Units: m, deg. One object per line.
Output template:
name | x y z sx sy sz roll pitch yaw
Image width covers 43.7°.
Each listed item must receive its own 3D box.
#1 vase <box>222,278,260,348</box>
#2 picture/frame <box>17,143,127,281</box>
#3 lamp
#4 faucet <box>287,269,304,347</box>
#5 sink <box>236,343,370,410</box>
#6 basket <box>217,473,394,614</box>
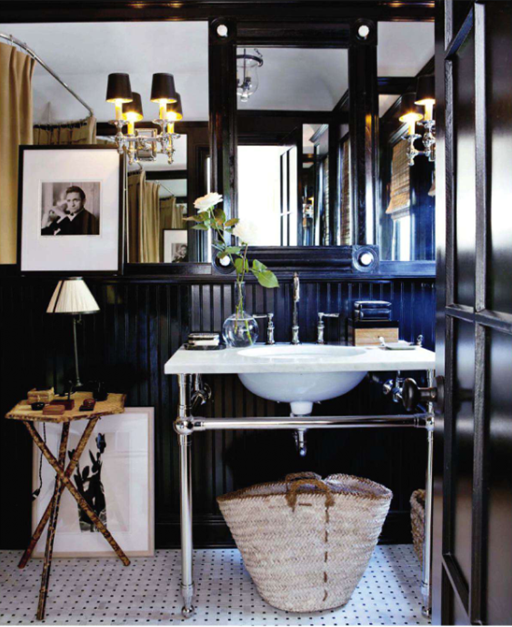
vase | -0.062 0.001 2.508 0.133 0.247 0.248 0 5 -1
picture/frame | -0.746 -0.399 2.553 0.382 0.671 0.037 0 -3 -3
lamp | -0.684 0.078 2.429 0.160 0.451 0.193 4 14 8
faucet | 0.161 -0.017 2.571 0.034 0.281 0.153 0 5 6
sink | 0.173 0.240 2.264 0.459 0.214 0.508 -1 6 -1
basket | 0.171 0.595 2.183 0.495 0.509 0.400 -1 -2 6
